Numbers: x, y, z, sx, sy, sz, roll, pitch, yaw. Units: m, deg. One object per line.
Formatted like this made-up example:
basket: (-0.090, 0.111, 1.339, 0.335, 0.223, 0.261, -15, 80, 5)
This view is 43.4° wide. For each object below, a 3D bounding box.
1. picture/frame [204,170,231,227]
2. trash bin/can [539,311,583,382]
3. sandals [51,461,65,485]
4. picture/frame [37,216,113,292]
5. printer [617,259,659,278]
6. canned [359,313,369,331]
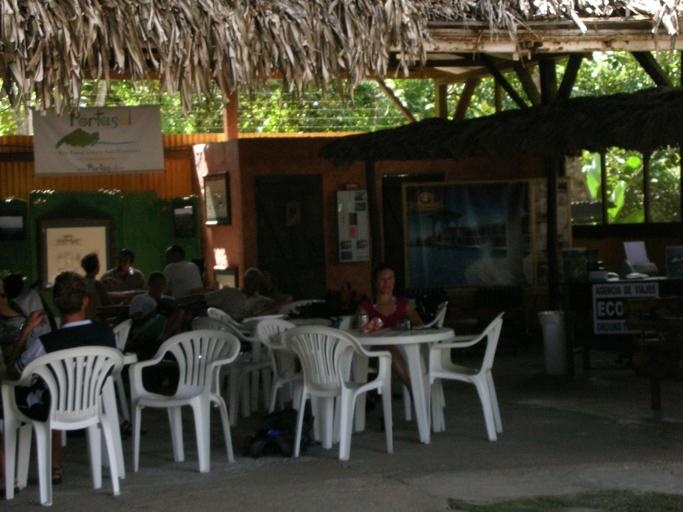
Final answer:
picture/frame: (-2.046, -0.972, 14.250, 0.098, 1.034, 0.883, -5, 2, -29)
trash bin/can: (2.519, 1.030, 10.091, 0.591, 0.880, 0.609, -1, -2, -19)
sandals: (-2.285, 1.746, 6.905, 0.097, 0.140, 0.046, 1, -6, -17)
picture/frame: (-4.309, -0.082, 13.664, 1.133, 1.260, 0.128, 1, 0, -14)
printer: (4.213, 0.175, 12.245, 0.486, 0.235, 0.749, -1, 4, 18)
canned: (0.198, 0.609, 7.983, 0.099, 0.179, 0.109, -1, -3, -3)
